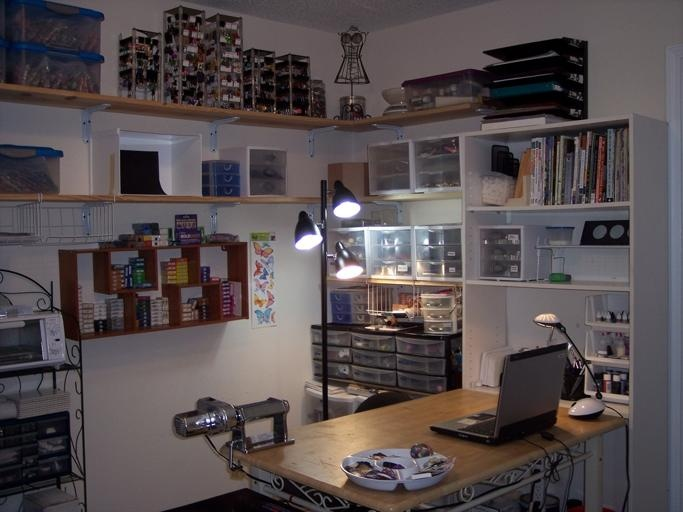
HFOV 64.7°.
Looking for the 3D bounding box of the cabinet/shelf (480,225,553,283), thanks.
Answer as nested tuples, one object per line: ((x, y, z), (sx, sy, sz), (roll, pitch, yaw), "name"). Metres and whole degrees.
((1.046, -0.013, 3.417), (0.351, 0.414, 0.435), (1, -2, -40), "cabinet/shelf")

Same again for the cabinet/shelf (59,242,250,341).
((-1.256, 0.209, 3.694), (1.213, 0.574, 0.360), (-3, 3, -41), "cabinet/shelf")

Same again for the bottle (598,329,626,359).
((1.554, 0.509, 3.090), (0.166, 0.134, 0.131), (1, 3, 44), "bottle")

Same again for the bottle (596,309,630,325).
((1.577, 0.350, 3.116), (0.171, 0.055, 0.205), (0, 3, 37), "bottle")

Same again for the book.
((1.322, -0.504, 3.058), (0.519, 0.351, 0.172), (-1, 1, 44), "book")

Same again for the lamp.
((-0.066, 0.432, 3.415), (0.481, 1.742, 0.402), (2, 13, 15), "lamp")

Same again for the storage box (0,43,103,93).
((-1.610, -1.044, 3.058), (0.237, 0.157, 0.382), (2, 3, 43), "storage box")

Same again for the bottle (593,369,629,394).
((1.575, 0.712, 3.148), (0.178, 0.167, 0.127), (4, 7, 42), "bottle")
